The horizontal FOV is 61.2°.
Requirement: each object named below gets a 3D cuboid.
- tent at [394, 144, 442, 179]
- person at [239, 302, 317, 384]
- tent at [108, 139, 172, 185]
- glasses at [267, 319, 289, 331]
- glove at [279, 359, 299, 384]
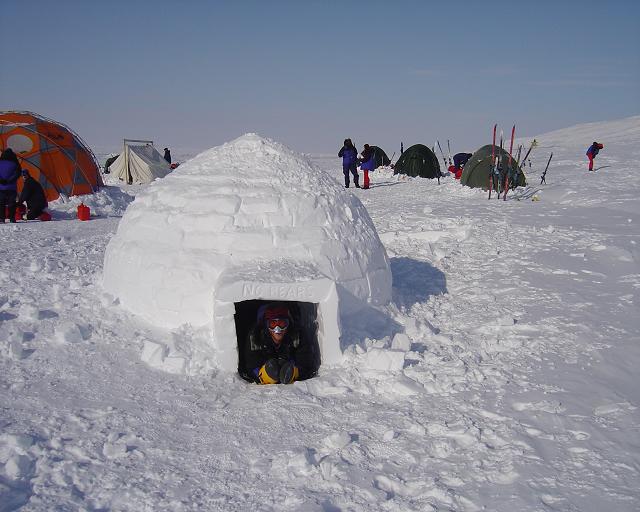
[{"bbox_3d":[3.862,-3.791,21.487,1.792,1.323,1.148,3,13,21],"label":"tent"},{"bbox_3d":[-0.506,1.019,6.178,0.870,0.858,0.413,2,-29,-6],"label":"person"},{"bbox_3d":[-7.356,-3.962,22.793,2.281,1.661,1.767,-12,16,-40],"label":"tent"},{"bbox_3d":[-0.482,0.778,6.063,0.246,0.123,0.147,1,-14,-3],"label":"glasses"},{"bbox_3d":[-0.338,1.255,5.895,0.218,0.234,0.093,-14,-40,13],"label":"glove"}]
